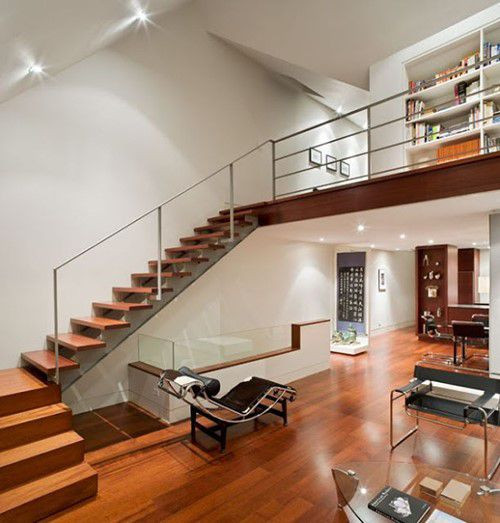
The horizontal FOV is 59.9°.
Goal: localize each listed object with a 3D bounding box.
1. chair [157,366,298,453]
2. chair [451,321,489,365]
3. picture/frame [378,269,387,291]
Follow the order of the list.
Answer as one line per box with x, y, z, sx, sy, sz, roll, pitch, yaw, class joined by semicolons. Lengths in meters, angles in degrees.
-0.134;1.361;4.261;1.469;0.613;0.506;4;-4;-39;chair
3.125;1.115;6.187;0.465;0.488;0.406;9;-14;-25;chair
2.882;0.393;9.461;0.074;0.639;0.533;1;2;34;picture/frame
